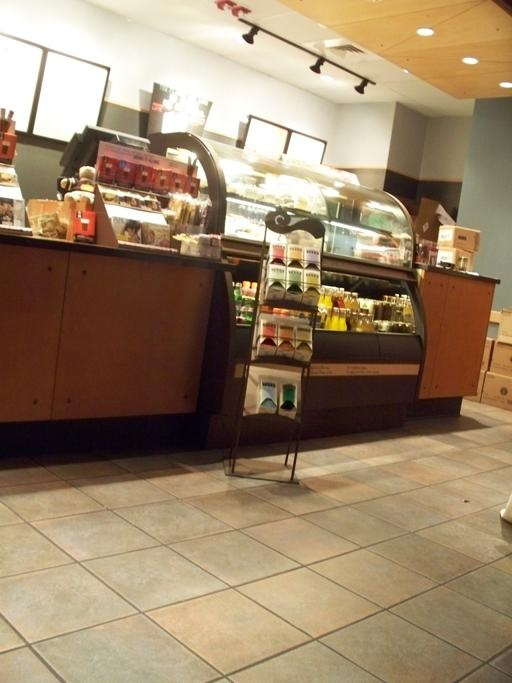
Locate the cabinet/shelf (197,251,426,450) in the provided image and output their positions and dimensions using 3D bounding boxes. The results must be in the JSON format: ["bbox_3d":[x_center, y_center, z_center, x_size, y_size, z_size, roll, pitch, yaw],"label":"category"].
[{"bbox_3d":[0.465,0.025,3.775,1.840,1.249,0.623,2,5,-32],"label":"cabinet/shelf"}]

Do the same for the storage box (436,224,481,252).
[{"bbox_3d":[2.054,-1.055,5.213,0.338,0.202,0.333,5,0,-28],"label":"storage box"}]

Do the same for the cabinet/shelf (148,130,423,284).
[{"bbox_3d":[0.289,-0.996,3.757,1.945,0.895,0.827,7,3,-42],"label":"cabinet/shelf"}]

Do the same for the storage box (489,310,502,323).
[{"bbox_3d":[2.829,-0.295,6.044,0.095,0.115,0.175,-1,2,-10],"label":"storage box"}]

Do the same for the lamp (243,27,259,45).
[{"bbox_3d":[-0.080,-3.768,6.274,0.188,0.076,0.318,28,46,-11],"label":"lamp"}]
